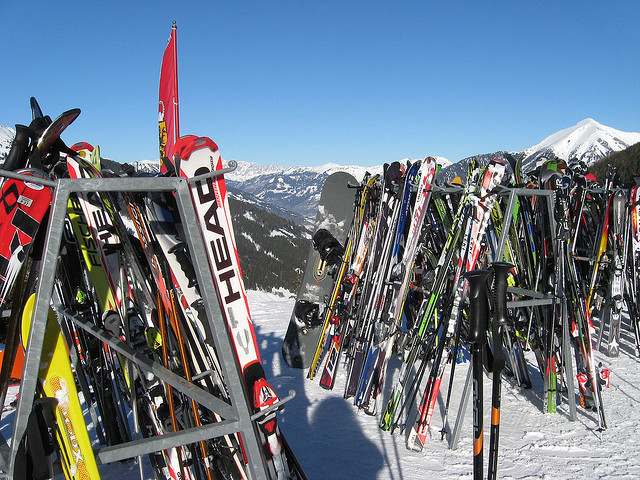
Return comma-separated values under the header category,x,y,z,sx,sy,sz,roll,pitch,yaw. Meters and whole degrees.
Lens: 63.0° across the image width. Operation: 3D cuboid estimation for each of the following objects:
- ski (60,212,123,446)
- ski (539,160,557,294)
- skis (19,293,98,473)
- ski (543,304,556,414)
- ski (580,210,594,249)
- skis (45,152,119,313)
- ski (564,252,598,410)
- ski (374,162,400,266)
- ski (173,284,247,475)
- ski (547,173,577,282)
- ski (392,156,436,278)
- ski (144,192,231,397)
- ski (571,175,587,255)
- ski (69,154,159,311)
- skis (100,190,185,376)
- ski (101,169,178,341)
category,x,y,z,sx,sy,sz,roll,pitch,yaw
ski,-2.220,0.845,5.128,0.235,2.483,0.169,-6,-2,-29
ski,3.225,-0.093,7.411,0.228,1.882,0.254,-2,4,-3
skis,-2.140,1.173,4.285,0.281,1.931,0.201,-14,5,-31
ski,3.087,1.724,7.044,0.143,1.604,0.111,2,-2,-33
ski,5.836,-0.245,11.419,0.109,0.842,0.096,-17,11,-36
skis,-2.205,-0.032,4.864,0.164,1.698,0.166,-17,2,-27
ski,3.657,1.328,7.347,0.073,2.161,0.135,-5,-10,-31
ski,1.016,-0.322,7.773,0.195,1.550,0.203,13,3,-13
ski,-0.929,1.227,4.531,0.176,1.892,0.117,-16,3,-27
ski,3.329,-0.359,7.144,0.223,1.836,0.191,-3,-15,8
ski,1.363,-0.350,7.673,0.232,1.998,0.265,13,-4,33
ski,-1.138,0.465,4.593,0.206,1.996,0.191,-19,9,-22
ski,4.917,-0.509,9.943,0.155,1.760,0.188,5,3,2
ski,-1.982,0.013,5.015,0.173,1.840,0.099,-6,30,10
skis,-1.657,0.380,4.947,0.190,1.868,0.117,-12,4,10
ski,-1.634,0.325,5.201,0.281,0.229,2.933,-17,-33,-17
